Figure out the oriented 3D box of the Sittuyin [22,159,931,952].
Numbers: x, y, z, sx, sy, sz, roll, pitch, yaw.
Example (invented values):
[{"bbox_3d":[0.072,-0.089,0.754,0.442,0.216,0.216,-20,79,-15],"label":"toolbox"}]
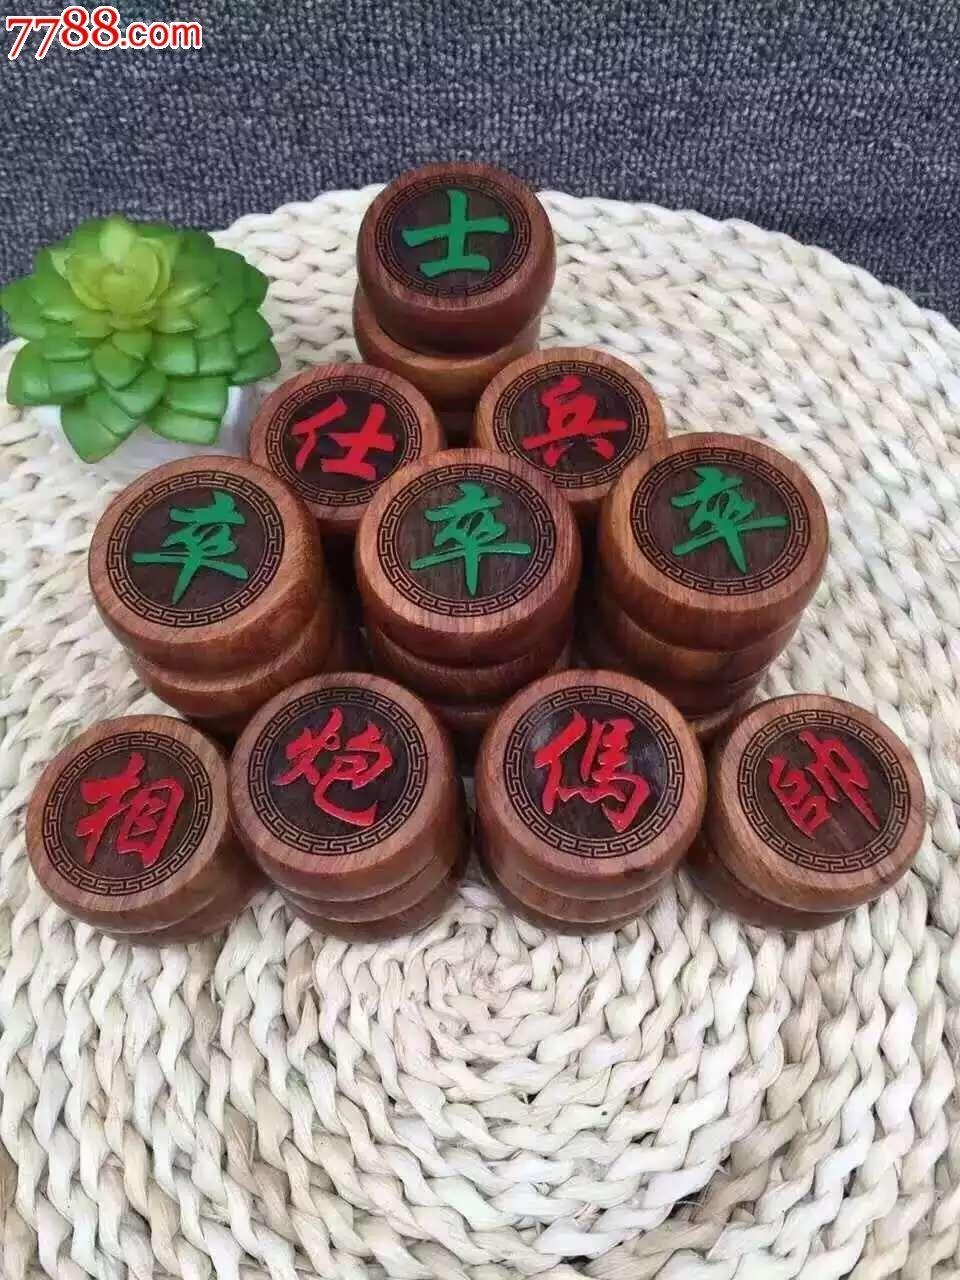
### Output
[{"bbox_3d":[-0.032,-0.014,0.686,0.496,0.196,0.339,0,49,0],"label":"Sittuyin"}]
